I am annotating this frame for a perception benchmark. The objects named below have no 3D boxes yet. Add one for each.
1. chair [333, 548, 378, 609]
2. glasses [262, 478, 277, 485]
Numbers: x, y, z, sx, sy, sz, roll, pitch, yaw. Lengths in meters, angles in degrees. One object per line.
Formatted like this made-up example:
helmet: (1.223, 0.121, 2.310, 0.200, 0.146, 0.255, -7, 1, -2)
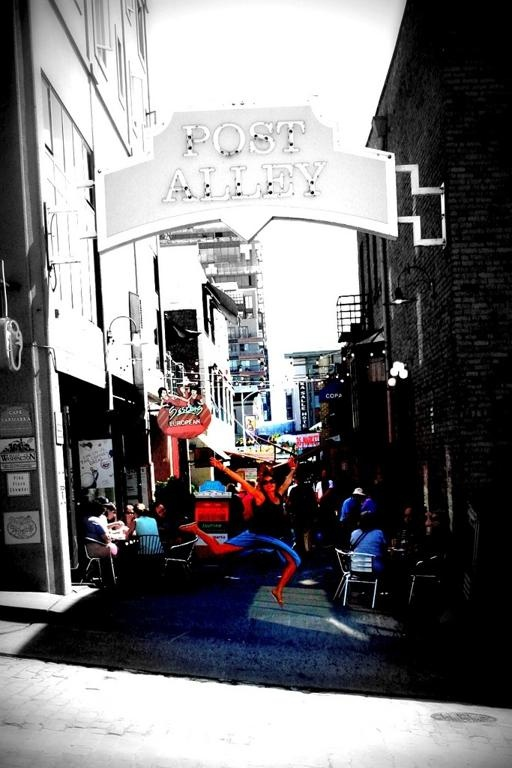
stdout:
chair: (1.411, 2.558, 10.601, 0.612, 0.862, 0.569, 0, 3, 20)
glasses: (0.155, 1.238, 10.409, 0.069, 0.067, 0.182, 3, -7, -41)
